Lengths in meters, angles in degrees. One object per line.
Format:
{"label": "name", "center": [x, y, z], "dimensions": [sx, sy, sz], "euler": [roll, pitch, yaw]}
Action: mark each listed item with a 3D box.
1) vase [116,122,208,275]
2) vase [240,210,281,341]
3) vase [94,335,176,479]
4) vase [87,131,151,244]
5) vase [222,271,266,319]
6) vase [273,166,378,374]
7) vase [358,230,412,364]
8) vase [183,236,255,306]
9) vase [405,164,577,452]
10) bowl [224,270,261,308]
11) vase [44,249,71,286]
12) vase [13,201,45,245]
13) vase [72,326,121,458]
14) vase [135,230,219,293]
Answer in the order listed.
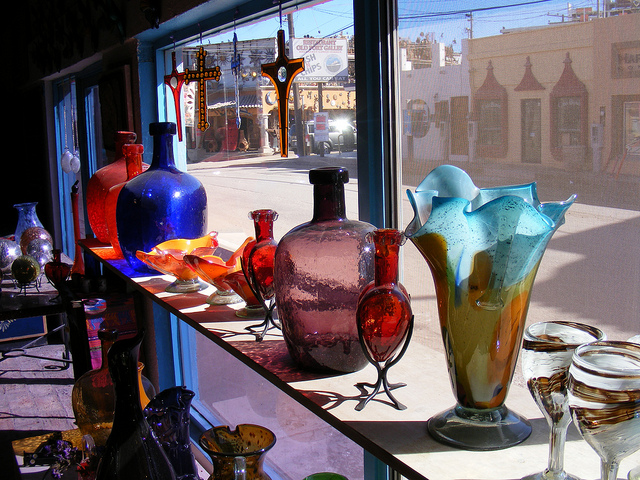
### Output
{"label": "vase", "center": [-0.513, -0.144, 1.772], "dimensions": [0.268, 0.458, 0.272], "euler": [1, 0, 6]}
{"label": "vase", "center": [-0.112, 0.069, 1.217], "dimensions": [0.113, 0.264, 0.117], "euler": [-3, 3, -36]}
{"label": "vase", "center": [-0.413, 0.376, 1.195], "dimensions": [0.154, 0.336, 0.156], "euler": [-4, 14, -4]}
{"label": "vase", "center": [-0.760, -0.209, 2.135], "dimensions": [0.272, 0.433, 0.274], "euler": [0, 7, -34]}
{"label": "vase", "center": [-0.178, 0.127, 1.286], "dimensions": [0.091, 0.076, 0.097], "euler": [-3, 6, -2]}
{"label": "vase", "center": [0.016, 0.051, 1.061], "dimensions": [0.199, 0.373, 0.226], "euler": [2, 10, 13]}
{"label": "vase", "center": [0.106, 0.098, 0.898], "dimensions": [0.087, 0.222, 0.074], "euler": [-1, 14, 9]}
{"label": "vase", "center": [-0.256, 0.080, 1.386], "dimensions": [0.172, 0.136, 0.169], "euler": [0, 4, -12]}
{"label": "vase", "center": [0.305, 0.064, 0.983], "dimensions": [0.319, 0.484, 0.345], "euler": [2, 8, 27]}
{"label": "bowl", "center": [-0.184, 0.116, 1.284], "dimensions": [0.075, 0.066, 0.079], "euler": [-2, 7, 0]}
{"label": "vase", "center": [-1.387, 0.142, 2.872], "dimensions": [0.124, 0.191, 0.130], "euler": [4, 12, -14]}
{"label": "vase", "center": [-1.832, -0.071, 3.445], "dimensions": [0.179, 0.272, 0.181], "euler": [-14, -5, 34]}
{"label": "vase", "center": [-0.603, 0.415, 1.507], "dimensions": [0.116, 0.369, 0.128], "euler": [12, 10, 5]}
{"label": "vase", "center": [-0.413, 0.052, 1.581], "dimensions": [0.167, 0.133, 0.176], "euler": [-4, 9, -3]}
